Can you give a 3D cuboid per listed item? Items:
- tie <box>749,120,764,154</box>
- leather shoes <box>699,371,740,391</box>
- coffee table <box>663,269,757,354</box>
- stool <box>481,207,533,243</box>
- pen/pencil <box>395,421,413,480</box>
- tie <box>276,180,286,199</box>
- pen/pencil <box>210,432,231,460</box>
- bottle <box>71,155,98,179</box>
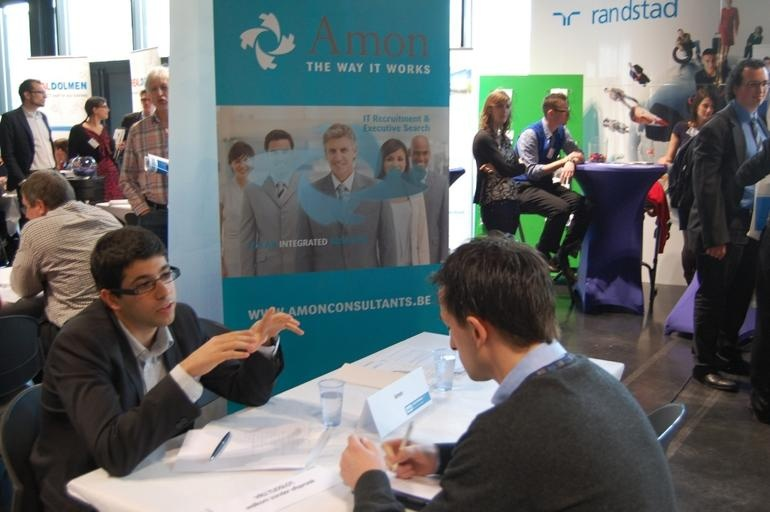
[{"bbox_3d":[2.760,-0.890,4.577,0.133,0.238,0.054,-9,6,-17],"label":"tie"},{"bbox_3d":[2.487,0.943,4.539,0.105,0.120,0.286,-20,16,-36],"label":"leather shoes"},{"bbox_3d":[2.781,0.493,5.536,0.557,0.637,0.168,27,8,39],"label":"coffee table"},{"bbox_3d":[1.084,-0.302,5.468,0.211,0.194,0.344,-22,-14,11],"label":"stool"},{"bbox_3d":[0.081,0.692,2.264,0.024,0.150,0.023,24,-28,2],"label":"pen/pencil"},{"bbox_3d":[-0.614,-0.406,3.628,0.060,0.090,0.021,6,4,-13],"label":"tie"},{"bbox_3d":[-0.609,0.708,2.276,0.024,0.022,0.123,9,36,14],"label":"pen/pencil"},{"bbox_3d":[-2.997,-0.884,6.083,0.219,0.178,0.179,-8,-7,23],"label":"bottle"}]
